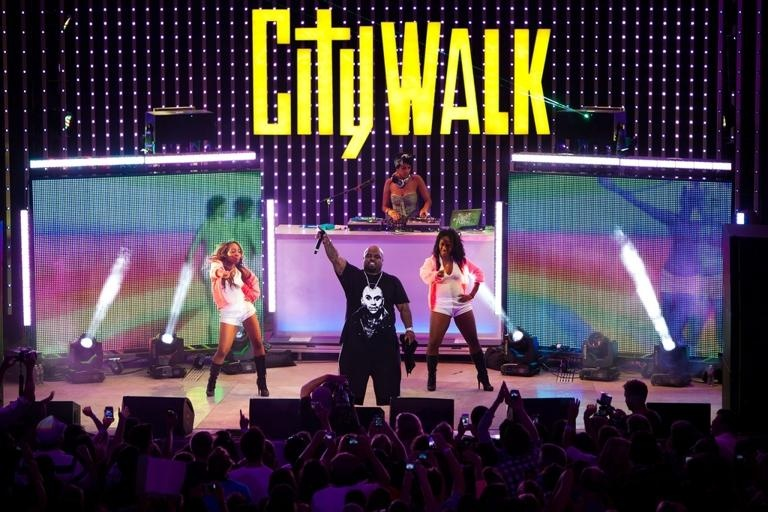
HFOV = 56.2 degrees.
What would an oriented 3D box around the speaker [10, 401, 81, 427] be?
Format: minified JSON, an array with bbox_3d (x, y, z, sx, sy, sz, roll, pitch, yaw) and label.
[{"bbox_3d":[-2.791,1.287,5.878,0.338,0.212,0.353,0,1,7],"label":"speaker"}]

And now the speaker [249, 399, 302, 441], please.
[{"bbox_3d":[-1.004,1.497,6.678,0.595,0.293,0.592,2,-8,12],"label":"speaker"}]

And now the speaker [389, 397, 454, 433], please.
[{"bbox_3d":[0.360,1.372,6.415,0.515,0.348,0.364,0,-2,0],"label":"speaker"}]

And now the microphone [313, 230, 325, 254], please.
[{"bbox_3d":[-0.837,-0.180,9.275,0.112,0.302,0.131,21,19,-20],"label":"microphone"}]

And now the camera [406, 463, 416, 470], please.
[{"bbox_3d":[0.169,1.316,4.527,0.077,0.051,0.042,0,-3,0],"label":"camera"}]

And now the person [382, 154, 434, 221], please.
[{"bbox_3d":[0.338,-1.027,11.036,0.721,1.015,1.249,1,3,-1],"label":"person"}]

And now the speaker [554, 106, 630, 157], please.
[{"bbox_3d":[3.144,-1.881,10.829,1.113,0.672,0.428,1,3,9],"label":"speaker"}]

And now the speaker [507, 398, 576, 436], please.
[{"bbox_3d":[1.291,1.315,5.896,0.548,0.384,0.293,-1,0,-1],"label":"speaker"}]

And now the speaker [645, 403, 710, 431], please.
[{"bbox_3d":[2.618,1.379,6.286,0.384,0.263,0.279,-1,3,3],"label":"speaker"}]

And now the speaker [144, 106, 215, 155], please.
[{"bbox_3d":[-3.158,-1.921,11.220,0.981,0.605,0.968,-2,7,-10],"label":"speaker"}]

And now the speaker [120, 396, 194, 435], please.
[{"bbox_3d":[-1.981,1.382,6.234,0.414,0.286,0.287,4,21,4],"label":"speaker"}]

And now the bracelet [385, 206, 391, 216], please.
[{"bbox_3d":[0.046,-0.668,10.632,0.079,0.116,0.108,-1,-1,0],"label":"bracelet"}]
